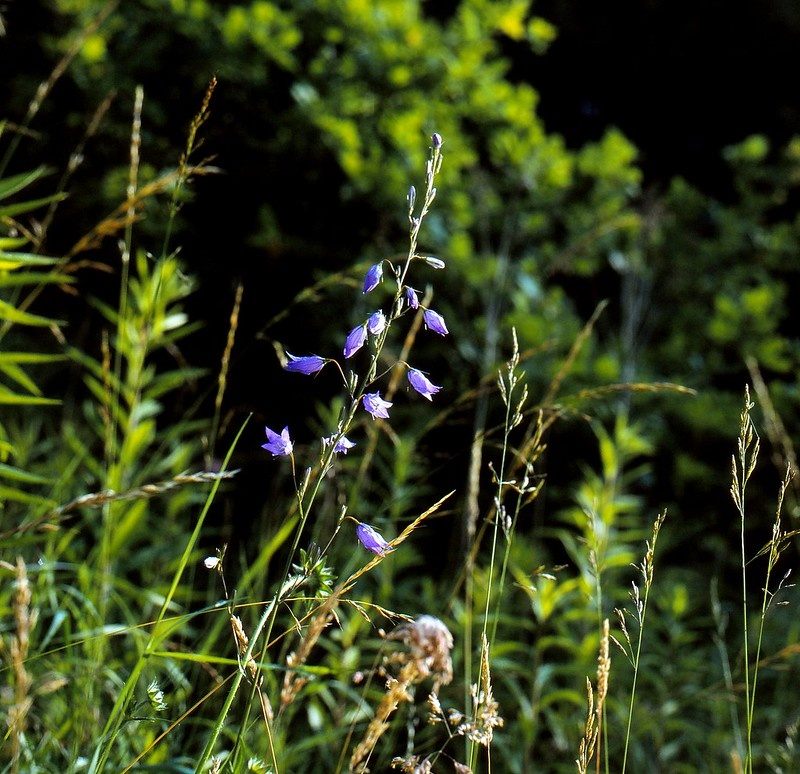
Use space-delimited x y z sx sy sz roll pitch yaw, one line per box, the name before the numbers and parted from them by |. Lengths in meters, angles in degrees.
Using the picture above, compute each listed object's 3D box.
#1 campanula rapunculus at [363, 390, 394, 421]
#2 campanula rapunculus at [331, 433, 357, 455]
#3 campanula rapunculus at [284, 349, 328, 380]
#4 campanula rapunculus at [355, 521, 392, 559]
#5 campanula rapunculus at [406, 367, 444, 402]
campanula rapunculus | -0.078 0.050 3.568 0.069 0.087 0.036 -17 -28 -9
campanula rapunculus | -0.175 0.180 3.520 0.066 0.074 0.026 -9 1 -29
campanula rapunculus | -0.298 -0.063 3.625 0.049 0.105 0.138 11 -11 -32
campanula rapunculus | -0.074 0.464 3.560 0.113 0.071 0.047 55 -2 12
campanula rapunculus | 0.071 -0.009 3.637 0.124 0.070 0.055 52 -17 4
